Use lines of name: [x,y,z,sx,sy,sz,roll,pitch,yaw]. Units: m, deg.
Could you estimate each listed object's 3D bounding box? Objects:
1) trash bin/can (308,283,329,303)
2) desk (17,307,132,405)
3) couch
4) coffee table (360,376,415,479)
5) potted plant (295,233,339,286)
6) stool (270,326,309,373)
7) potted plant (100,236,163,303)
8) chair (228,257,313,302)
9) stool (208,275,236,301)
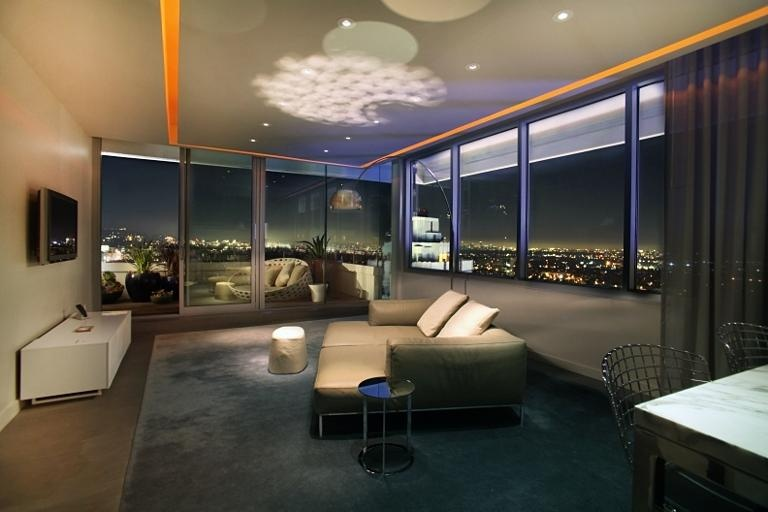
trash bin/can: [-1.170,0.659,8.623,0.286,0.297,0.327,1,2,3]
desk: [-3.172,0.741,5.003,0.604,0.426,1.445,0,3,-21]
couch: [0.256,1.042,5.397,2.004,0.767,2.202,-1,6,-7]
coffee table: [0.012,1.422,4.161,0.638,0.714,0.644,-1,9,-3]
potted plant: [-1.037,0.047,8.752,0.780,0.889,0.785,2,-4,-44]
stool: [-1.041,1.072,5.591,0.455,0.388,0.455,0,2,21]
potted plant: [-4.498,0.252,8.544,1.174,1.113,0.604,1,-4,-23]
chair: [-1.882,0.383,8.294,0.872,0.392,0.845,0,21,-34]
stool: [-2.639,0.520,7.872,0.371,0.379,0.373,3,4,36]
